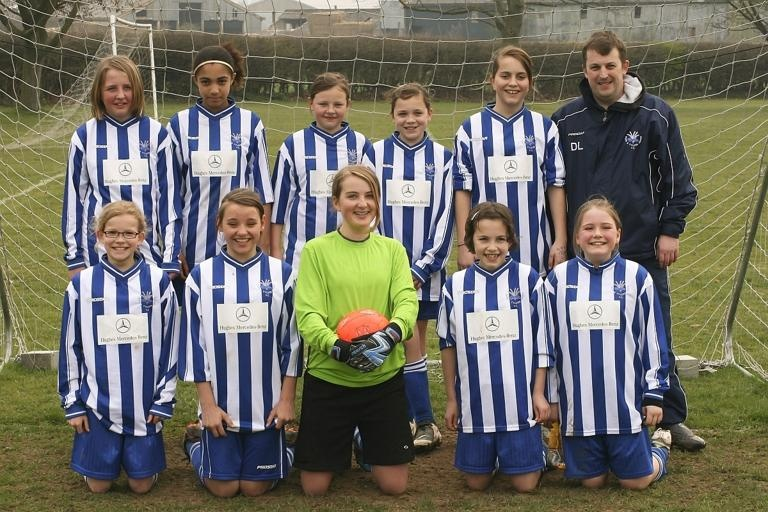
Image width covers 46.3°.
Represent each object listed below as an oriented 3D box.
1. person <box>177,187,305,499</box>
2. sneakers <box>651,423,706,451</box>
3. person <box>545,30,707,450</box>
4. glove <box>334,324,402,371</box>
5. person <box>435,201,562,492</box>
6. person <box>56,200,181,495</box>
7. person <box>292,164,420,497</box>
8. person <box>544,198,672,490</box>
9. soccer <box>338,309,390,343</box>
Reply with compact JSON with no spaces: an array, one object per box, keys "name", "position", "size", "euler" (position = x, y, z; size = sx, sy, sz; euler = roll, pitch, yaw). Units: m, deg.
[{"name":"person","position":[-1.157,0.685,7.211],"size":[0.963,2.419,0.426],"euler":[-3,6,-14]},{"name":"sneakers","position":[2.519,1.552,7.690],"size":[0.533,0.245,0.192],"euler":[3,4,6]},{"name":"person","position":[2.108,-0.092,7.823],"size":[1.291,3.520,1.112],"euler":[-6,4,13]},{"name":"glove","position":[-0.122,0.691,6.912],"size":[0.417,0.203,0.326],"euler":[-36,52,-13]},{"name":"person","position":[0.883,0.723,7.266],"size":[0.899,2.288,0.423],"euler":[0,6,10]},{"name":"person","position":[-2.133,0.733,7.188],"size":[0.954,2.286,0.415],"euler":[-3,6,-11]},{"name":"person","position":[-0.238,0.588,7.154],"size":[0.988,2.616,0.571],"euler":[-1,6,2]},{"name":"person","position":[1.783,0.701,7.235],"size":[0.958,2.274,0.416],"euler":[-1,6,9]},{"name":"soccer","position":[-0.178,0.566,7.028],"size":[0.301,0.165,0.249],"euler":[-16,24,-15]}]
